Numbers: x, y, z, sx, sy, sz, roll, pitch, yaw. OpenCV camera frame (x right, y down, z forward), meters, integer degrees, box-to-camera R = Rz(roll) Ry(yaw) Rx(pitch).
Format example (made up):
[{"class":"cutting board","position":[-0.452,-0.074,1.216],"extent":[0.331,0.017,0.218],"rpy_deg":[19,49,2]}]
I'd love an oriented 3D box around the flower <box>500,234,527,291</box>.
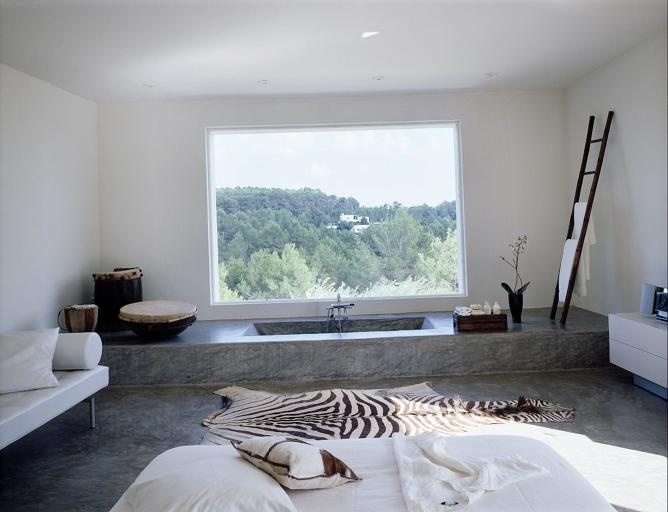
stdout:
[{"class":"flower","position":[2.531,0.101,6.591],"extent":[0.383,0.792,0.100],"rpy_deg":[0,5,-11]}]

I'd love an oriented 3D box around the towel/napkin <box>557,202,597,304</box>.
[{"class":"towel/napkin","position":[2.994,-0.026,5.802],"extent":[0.367,1.260,0.751],"rpy_deg":[4,6,29]}]

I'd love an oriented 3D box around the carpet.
[{"class":"carpet","position":[0.460,1.438,4.237],"extent":[2.956,0.210,1.154],"rpy_deg":[-1,2,-4]}]

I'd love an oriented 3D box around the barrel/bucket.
[{"class":"barrel/bucket","position":[-2.647,0.561,6.273],"extent":[0.657,0.831,0.749],"rpy_deg":[0,0,-3]}]
